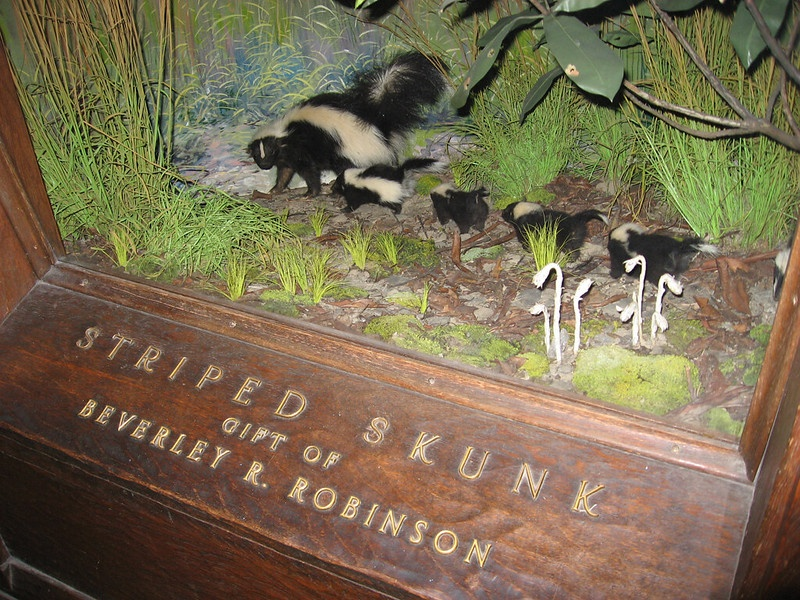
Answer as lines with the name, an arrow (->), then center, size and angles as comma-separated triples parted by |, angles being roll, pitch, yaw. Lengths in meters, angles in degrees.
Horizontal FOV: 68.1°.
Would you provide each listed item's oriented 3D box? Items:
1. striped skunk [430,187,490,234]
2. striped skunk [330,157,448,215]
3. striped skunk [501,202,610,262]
striped skunk -> 0.313, -0.548, 3.453 | 0.365, 0.206, 0.230 | 30, -42, 42
striped skunk -> -0.103, -0.745, 3.864 | 0.720, 0.233, 0.350 | -1, -59, 1
striped skunk -> 0.818, -0.376, 3.193 | 0.646, 0.163, 0.289 | 14, -62, 30
